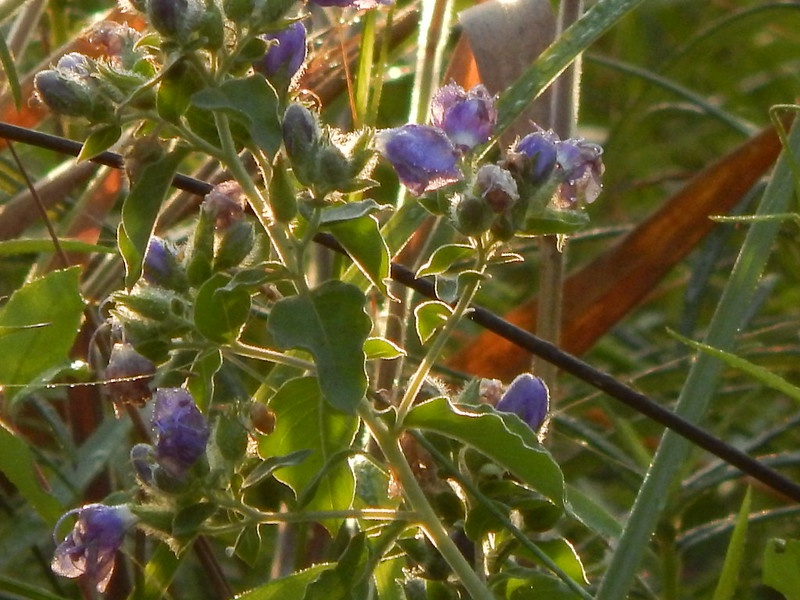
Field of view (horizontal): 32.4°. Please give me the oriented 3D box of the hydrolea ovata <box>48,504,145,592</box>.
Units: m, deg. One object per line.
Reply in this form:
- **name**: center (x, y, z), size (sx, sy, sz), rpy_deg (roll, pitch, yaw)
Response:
- **hydrolea ovata**: center (-0.263, 0.212, 1.178), size (0.066, 0.068, 0.051), rpy_deg (3, 12, 28)
